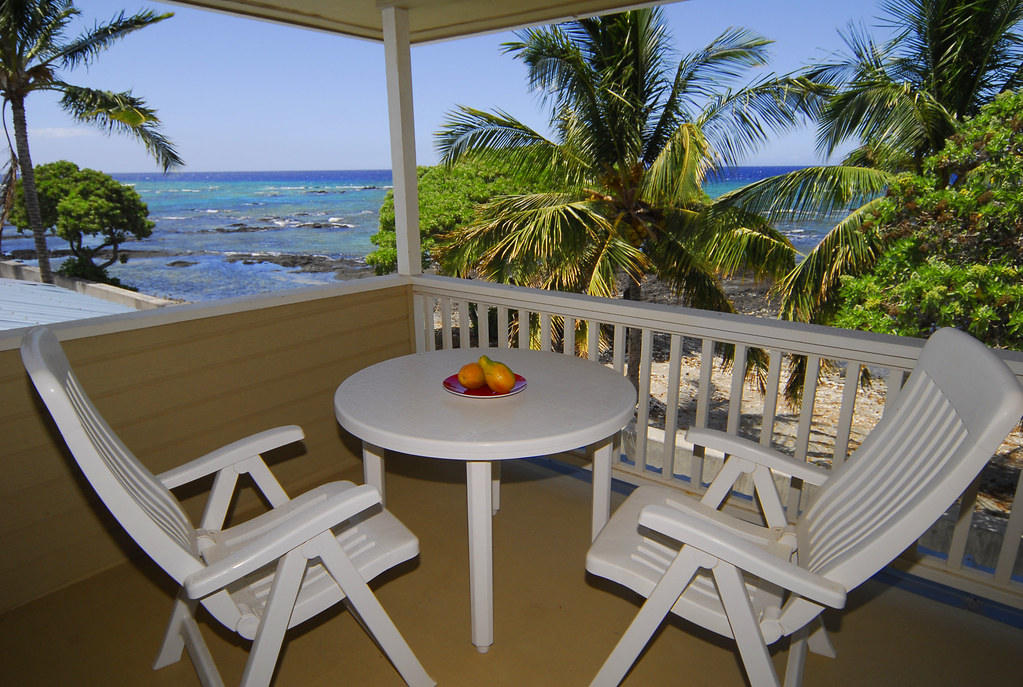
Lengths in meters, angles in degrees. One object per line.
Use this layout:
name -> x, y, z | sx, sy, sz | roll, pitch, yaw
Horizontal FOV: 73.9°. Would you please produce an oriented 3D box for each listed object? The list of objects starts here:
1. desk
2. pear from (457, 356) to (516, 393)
desk -> -0.120, 0.426, 3.251 | 1.269, 0.998, 1.303 | -1, 12, -4
pear -> -0.115, 0.149, 3.074 | 0.225, 0.140, 0.140 | 9, -7, 20
